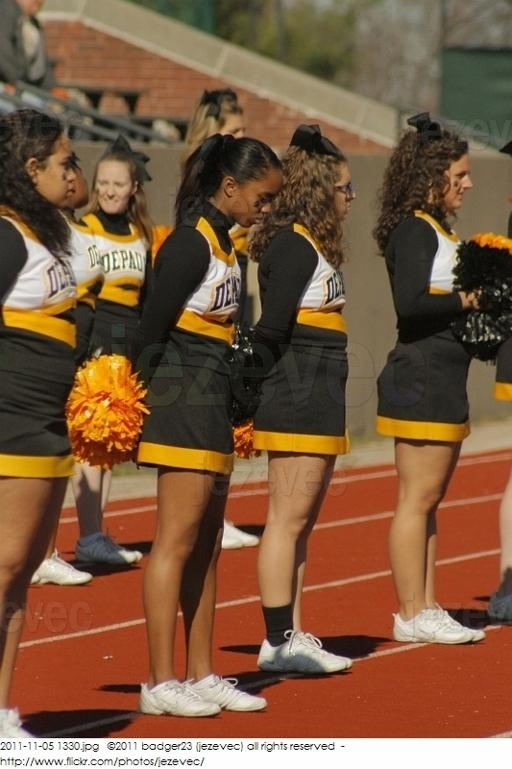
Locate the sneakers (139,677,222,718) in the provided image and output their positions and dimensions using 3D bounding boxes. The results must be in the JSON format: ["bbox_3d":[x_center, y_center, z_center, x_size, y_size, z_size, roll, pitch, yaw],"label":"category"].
[{"bbox_3d":[-0.242,0.944,2.368,0.283,0.102,0.095,2,0,3],"label":"sneakers"}]

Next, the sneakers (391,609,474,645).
[{"bbox_3d":[0.758,1.048,3.392,0.384,0.129,0.137,0,-3,5],"label":"sneakers"}]

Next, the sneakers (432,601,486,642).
[{"bbox_3d":[0.875,1.038,3.381,0.244,0.093,0.133,0,1,16],"label":"sneakers"}]

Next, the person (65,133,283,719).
[{"bbox_3d":[-0.177,0.120,2.400,0.426,1.435,0.292,1,0,-45],"label":"person"}]

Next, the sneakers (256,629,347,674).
[{"bbox_3d":[0.156,1.026,3.013,0.386,0.139,0.148,0,-4,3],"label":"sneakers"}]

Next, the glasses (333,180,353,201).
[{"bbox_3d":[0.328,-0.763,3.023,0.087,0.022,0.083,-6,-3,23],"label":"glasses"}]

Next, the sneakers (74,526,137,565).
[{"bbox_3d":[-0.931,1.008,4.849,0.481,0.184,0.157,2,16,-1],"label":"sneakers"}]

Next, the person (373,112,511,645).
[{"bbox_3d":[0.726,-0.029,3.319,0.498,2.097,0.489,1,0,17],"label":"person"}]
